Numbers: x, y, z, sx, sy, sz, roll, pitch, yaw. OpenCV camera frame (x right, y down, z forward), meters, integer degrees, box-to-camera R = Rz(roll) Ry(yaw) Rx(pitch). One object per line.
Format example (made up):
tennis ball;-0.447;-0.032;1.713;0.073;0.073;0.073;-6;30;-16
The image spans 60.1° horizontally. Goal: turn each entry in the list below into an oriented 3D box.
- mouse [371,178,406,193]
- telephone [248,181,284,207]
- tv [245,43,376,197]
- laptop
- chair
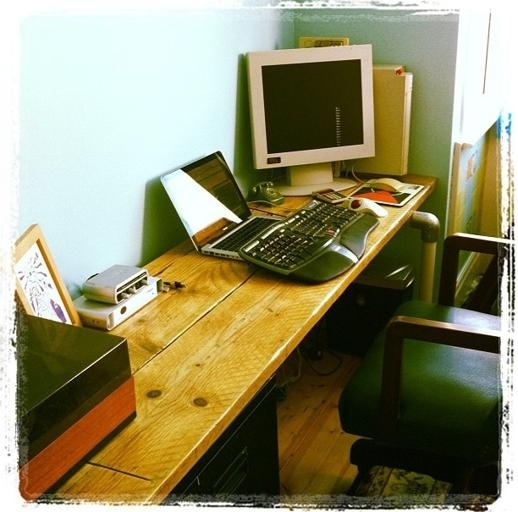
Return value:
mouse;0.554;-0.308;1.913;0.117;0.032;0.070;17;31;31
telephone;0.036;-0.257;1.859;0.139;0.088;0.086;8;23;23
tv;0.205;-0.577;1.857;0.570;0.625;0.216;-10;21;-19
laptop;-0.052;-0.177;1.489;0.401;0.259;0.412;12;27;32
chair;0.490;0.346;1.350;0.409;0.470;0.729;11;31;25
